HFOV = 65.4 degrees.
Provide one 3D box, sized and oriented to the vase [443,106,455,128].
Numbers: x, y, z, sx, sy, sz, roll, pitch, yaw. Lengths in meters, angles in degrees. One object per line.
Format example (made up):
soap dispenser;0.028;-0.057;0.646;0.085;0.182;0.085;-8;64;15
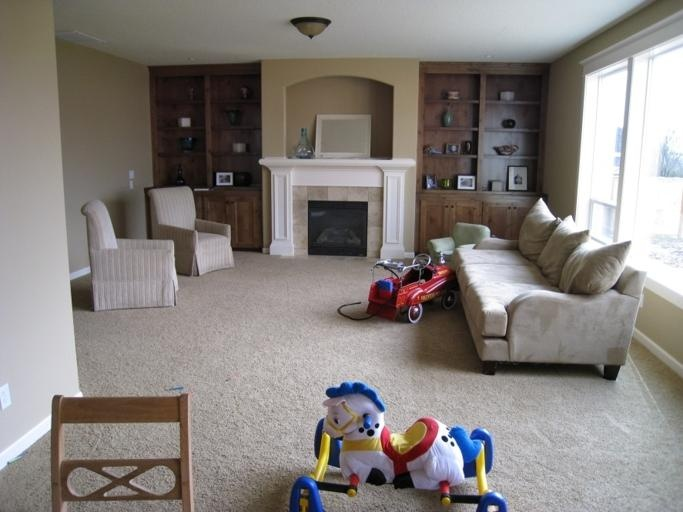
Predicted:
vase;1.579;-2.069;7.879;0.178;0.287;0.281;2;12;16

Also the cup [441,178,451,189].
cup;1.599;-1.087;8.058;0.158;0.190;0.157;-1;15;0

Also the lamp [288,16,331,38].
lamp;-0.345;-2.459;5.674;0.460;0.151;0.324;0;12;8

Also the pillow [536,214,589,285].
pillow;2.053;-0.080;5.062;0.245;0.462;0.548;-7;46;2

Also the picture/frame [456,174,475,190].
picture/frame;1.859;-1.116;7.958;0.247;0.252;0.019;0;6;5

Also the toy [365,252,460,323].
toy;0.750;0.296;5.519;0.955;0.591;0.560;-10;13;-33

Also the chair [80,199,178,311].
chair;-2.320;-0.092;6.060;1.144;1.369;1.009;-2;9;-18

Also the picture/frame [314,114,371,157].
picture/frame;0.052;-1.855;8.080;0.620;0.558;0.060;1;11;2

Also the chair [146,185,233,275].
chair;-2.020;-0.365;7.114;1.000;1.061;0.912;4;12;16

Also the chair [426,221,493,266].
chair;1.446;-0.068;6.515;0.734;0.668;0.686;1;10;-11

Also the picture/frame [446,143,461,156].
picture/frame;1.673;-1.615;7.990;0.229;0.266;0.026;0;3;10

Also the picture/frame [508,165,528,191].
picture/frame;2.646;-1.184;7.995;0.351;0.501;0.036;0;4;-2
